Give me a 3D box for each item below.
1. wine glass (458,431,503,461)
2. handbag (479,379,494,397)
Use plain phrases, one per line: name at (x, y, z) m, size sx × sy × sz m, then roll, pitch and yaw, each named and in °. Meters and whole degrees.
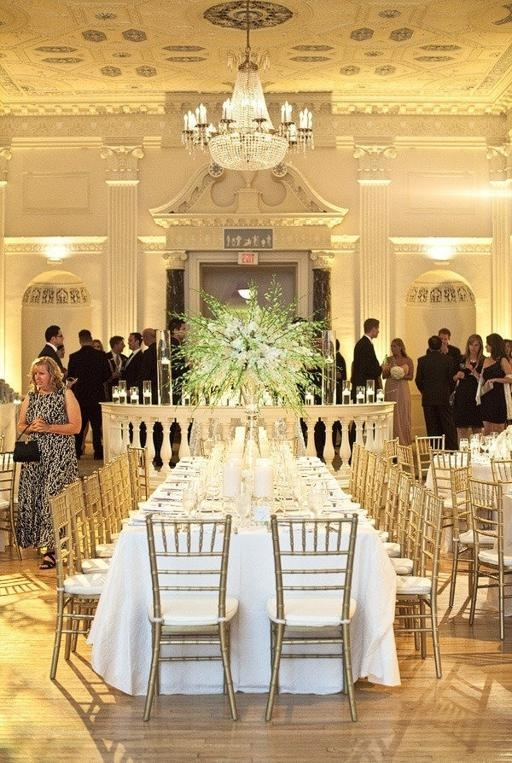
wine glass at (2.203, 0.648, 5.735) m, size 0.336 × 0.156 × 0.443 m, roll 0°, pitch 5°, yaw 7°
handbag at (3.082, 0.099, 7.965) m, size 0.084 × 0.255 × 0.060 m, roll 36°, pitch 57°, yaw 15°
